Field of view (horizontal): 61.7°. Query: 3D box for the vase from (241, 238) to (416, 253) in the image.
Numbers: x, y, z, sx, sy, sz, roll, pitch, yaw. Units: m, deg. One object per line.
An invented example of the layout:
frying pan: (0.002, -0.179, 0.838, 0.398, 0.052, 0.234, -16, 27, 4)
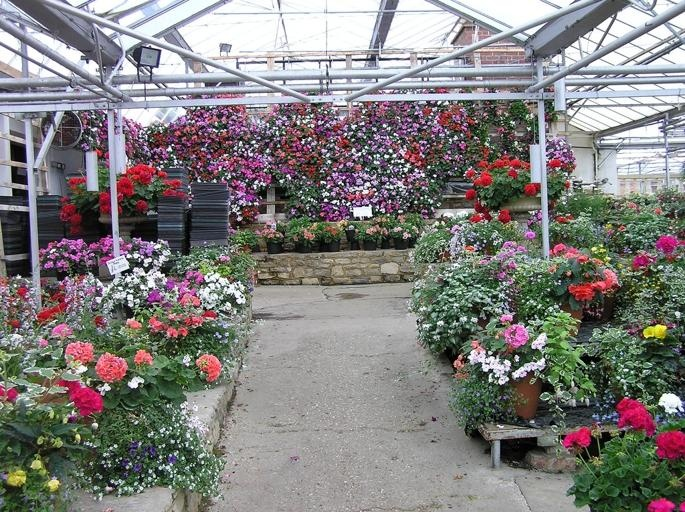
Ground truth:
vase: (-0.151, -0.186, 10.831, 2.504, 0.313, 0.186, -2, -12, 0)

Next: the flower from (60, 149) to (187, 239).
flower: (-2.969, -0.798, 7.601, 1.320, 0.774, 1.220, -1, 0, -17)

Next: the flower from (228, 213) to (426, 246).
flower: (-0.211, -0.486, 10.676, 3.421, 0.694, 0.702, -1, -1, -1)
